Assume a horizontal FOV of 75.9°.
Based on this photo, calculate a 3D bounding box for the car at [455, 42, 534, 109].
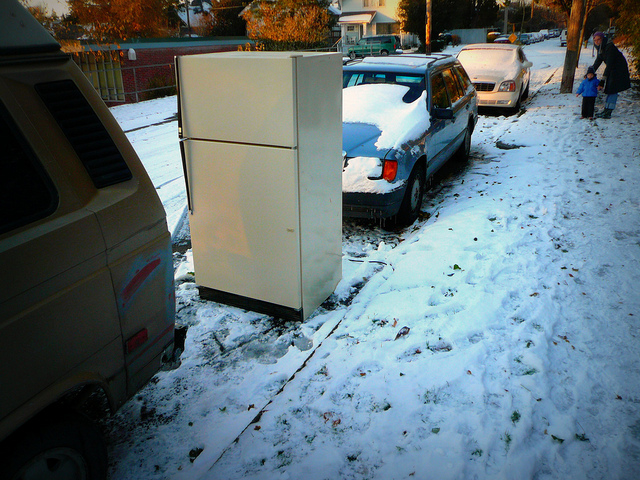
[{"bbox_3d":[6.306,-6.067,14.930,2.924,2.072,5.920,13,31,32],"label":"car"}]

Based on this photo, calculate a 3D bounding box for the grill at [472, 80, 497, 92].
[{"bbox_3d":[5.048,-4.746,12.658,0.681,0.337,0.197,10,29,24],"label":"grill"}]

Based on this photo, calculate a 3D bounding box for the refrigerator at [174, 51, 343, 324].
[{"bbox_3d":[-0.588,-0.640,4.556,1.310,2.709,1.264,7,26,14],"label":"refrigerator"}]
